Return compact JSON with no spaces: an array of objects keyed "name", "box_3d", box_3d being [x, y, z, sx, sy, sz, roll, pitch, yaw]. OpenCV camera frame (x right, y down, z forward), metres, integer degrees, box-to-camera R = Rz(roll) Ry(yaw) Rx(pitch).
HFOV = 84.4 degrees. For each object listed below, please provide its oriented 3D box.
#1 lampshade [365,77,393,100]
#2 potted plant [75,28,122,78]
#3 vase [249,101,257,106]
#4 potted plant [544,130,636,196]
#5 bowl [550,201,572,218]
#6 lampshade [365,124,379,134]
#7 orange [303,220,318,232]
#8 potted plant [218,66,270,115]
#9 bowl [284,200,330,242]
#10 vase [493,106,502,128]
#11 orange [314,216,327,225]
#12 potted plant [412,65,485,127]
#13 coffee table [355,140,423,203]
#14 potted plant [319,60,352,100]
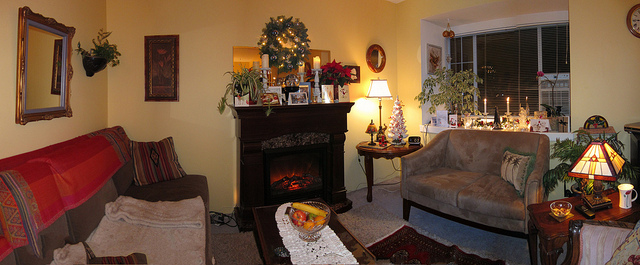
[{"name":"lampshade","box_3d":[1.478,-1.007,8.623,0.725,0.679,0.644,1,21,17]},{"name":"potted plant","box_3d":[-4.554,-1.576,7.094,0.900,0.836,0.644,9,-2,36]},{"name":"vase","box_3d":[-1.403,-0.608,7.343,0.179,0.090,0.089,-2,4,-28]},{"name":"potted plant","box_3d":[5.356,0.564,7.027,1.699,1.297,1.562,3,3,25]},{"name":"bowl","box_3d":[4.301,1.374,6.294,0.306,0.138,0.278,-5,15,26]},{"name":"lampshade","box_3d":[1.219,-0.080,8.241,0.252,0.120,0.242,3,6,36]},{"name":"orange","box_3d":[-0.173,1.595,6.022,0.217,0.098,0.187,-2,6,-6]},{"name":"potted plant","box_3d":[-1.725,-0.955,7.562,1.045,0.691,1.113,1,1,-24]},{"name":"bowl","box_3d":[-0.193,1.576,6.165,0.825,0.429,0.733,-2,16,-17]},{"name":"vase","box_3d":[4.103,-0.354,8.159,0.188,0.465,0.223,-1,9,-13]},{"name":"orange","box_3d":[0.007,1.506,6.051,0.164,0.132,0.131,-8,52,-11]},{"name":"potted plant","box_3d":[3.369,-0.839,9.193,1.906,1.348,1.639,-1,4,1]},{"name":"coffee table","box_3d":[1.442,0.911,8.506,1.615,1.066,1.510,-5,7,-37]},{"name":"potted plant","box_3d":[0.149,-1.222,8.181,1.035,0.791,0.928,0,3,-11]}]
